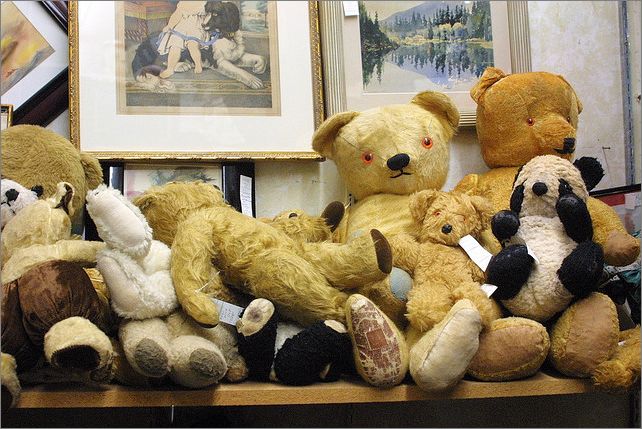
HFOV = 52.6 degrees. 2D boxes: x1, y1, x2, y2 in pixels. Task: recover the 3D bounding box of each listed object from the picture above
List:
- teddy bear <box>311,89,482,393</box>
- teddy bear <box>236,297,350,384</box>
[{"bbox_3d":[0.198,0.055,1.770,0.511,0.744,0.491,-1,9,33],"label":"teddy bear"},{"bbox_3d":[-0.084,0.315,1.571,0.284,0.173,0.118,18,-18,6],"label":"teddy bear"}]
